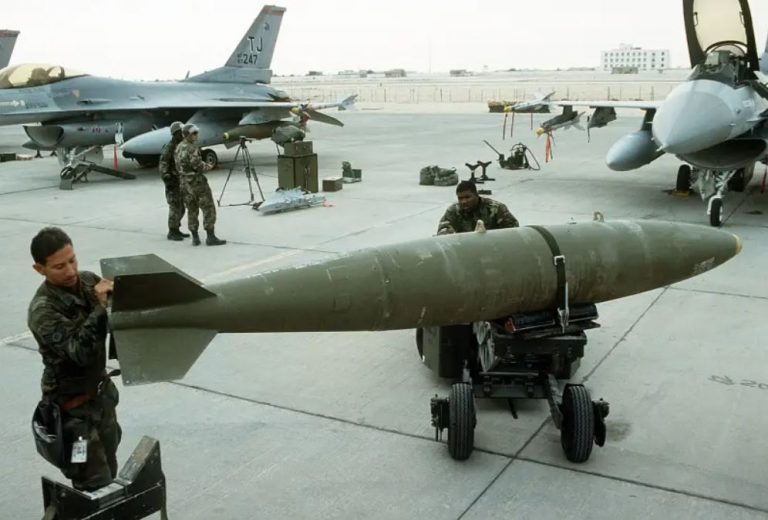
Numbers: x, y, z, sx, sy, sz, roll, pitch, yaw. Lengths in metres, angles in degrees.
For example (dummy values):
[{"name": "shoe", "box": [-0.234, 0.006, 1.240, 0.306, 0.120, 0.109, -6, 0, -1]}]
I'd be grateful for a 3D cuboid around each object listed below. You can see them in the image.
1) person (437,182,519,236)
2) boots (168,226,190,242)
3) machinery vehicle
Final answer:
[{"name": "person", "box": [1.061, -0.612, 7.646, 0.721, 0.579, 0.870, 8, 17, 42]}, {"name": "boots", "box": [-4.182, -0.490, 12.916, 0.597, 0.260, 0.190, -7, 21, -21]}, {"name": "machinery vehicle", "box": [1.312, 1.141, 6.677, 1.719, 1.440, 1.430, -3, 14, 5]}]
